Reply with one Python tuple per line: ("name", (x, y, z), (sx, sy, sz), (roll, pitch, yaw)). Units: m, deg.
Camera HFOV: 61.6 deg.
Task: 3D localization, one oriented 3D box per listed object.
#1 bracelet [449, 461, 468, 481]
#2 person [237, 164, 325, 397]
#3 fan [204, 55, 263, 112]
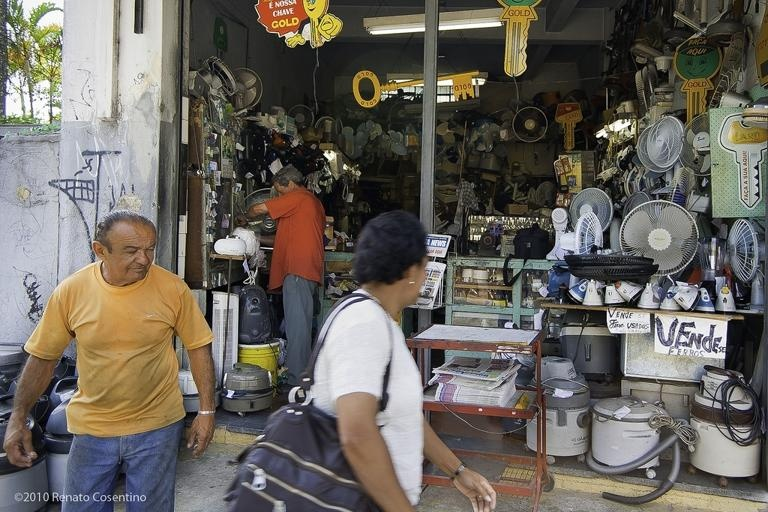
("bracelet", (0.389, 1.123, 3.349), (0.093, 0.031, 0.066), (-40, 3, 10))
("person", (-0.871, 0.252, 6.946), (0.731, 2.491, 0.948), (-2, -15, 14))
("fan", (-1.629, -1.895, 7.165), (0.486, 0.609, 0.653), (1, 10, -19))
